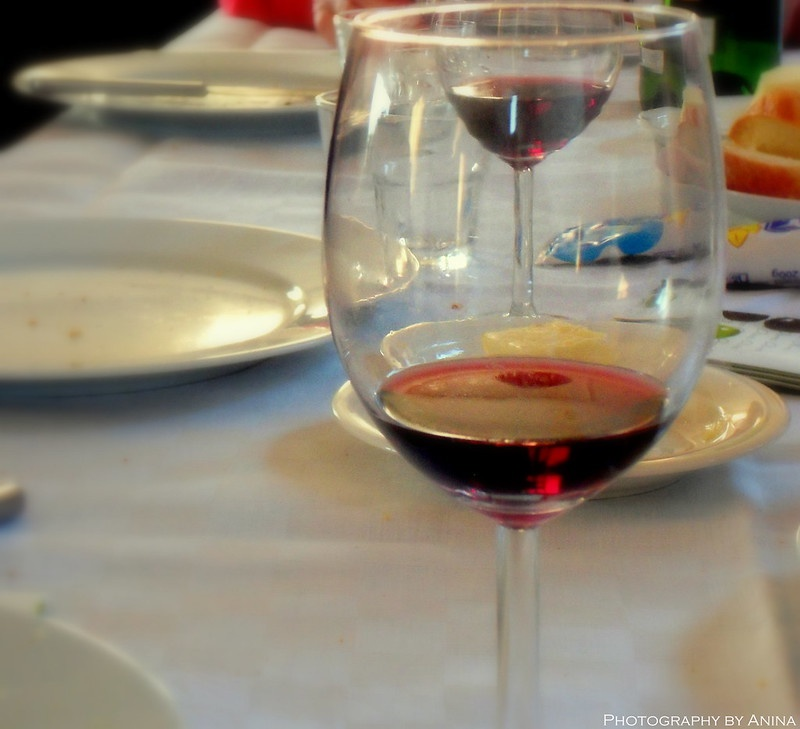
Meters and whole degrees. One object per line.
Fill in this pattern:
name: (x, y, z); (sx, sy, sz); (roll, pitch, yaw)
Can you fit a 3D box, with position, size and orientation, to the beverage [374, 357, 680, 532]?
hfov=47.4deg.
beverage: (0.038, 0.022, 0.285); (0.092, 0.030, 0.076); (-9, 21, -19)
